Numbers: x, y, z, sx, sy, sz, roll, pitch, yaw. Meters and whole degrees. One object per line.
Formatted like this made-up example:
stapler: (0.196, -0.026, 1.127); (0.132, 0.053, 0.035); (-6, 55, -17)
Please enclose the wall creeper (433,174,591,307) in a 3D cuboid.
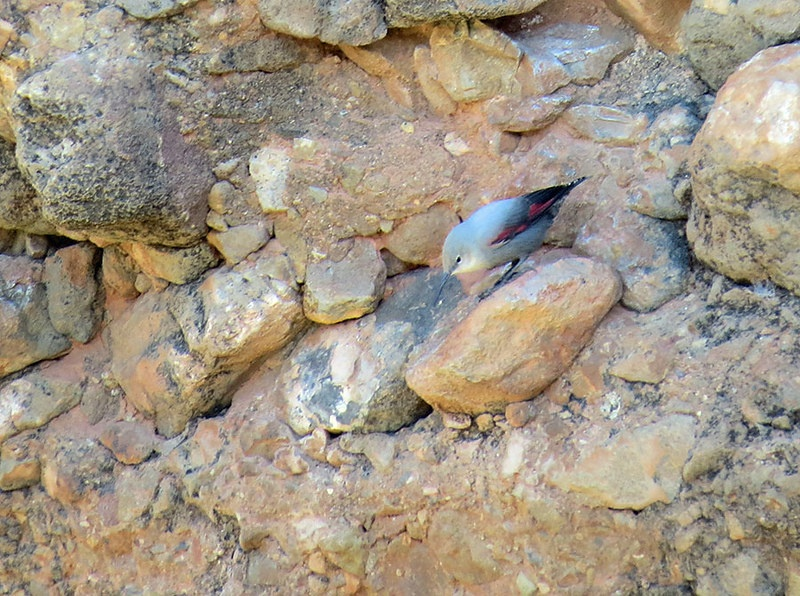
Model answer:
wall creeper: (0.581, -0.273, 8.862); (0.626, 0.264, 0.183); (-44, 52, 6)
